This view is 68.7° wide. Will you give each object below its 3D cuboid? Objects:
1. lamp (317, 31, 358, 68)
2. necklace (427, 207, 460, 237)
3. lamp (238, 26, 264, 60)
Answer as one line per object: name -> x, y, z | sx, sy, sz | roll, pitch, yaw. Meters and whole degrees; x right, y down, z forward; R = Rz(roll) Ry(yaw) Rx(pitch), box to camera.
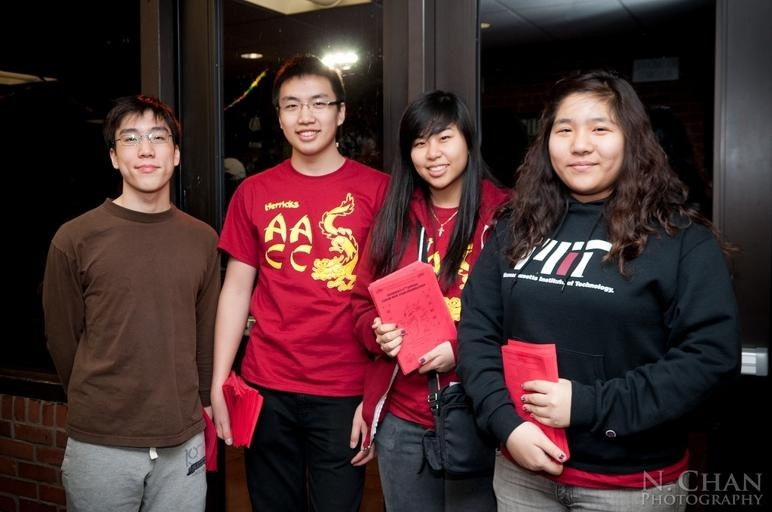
lamp -> -0.219, -0.982, 2.734 | 0.215, 0.194, 0.053 | 25, 18, 29
necklace -> 0.218, -0.128, 2.160 | 0.111, 0.102, 0.030 | 8, -14, 28
lamp -> -0.697, -1.089, 2.968 | 0.143, 0.145, 0.036 | -1, 2, 16
